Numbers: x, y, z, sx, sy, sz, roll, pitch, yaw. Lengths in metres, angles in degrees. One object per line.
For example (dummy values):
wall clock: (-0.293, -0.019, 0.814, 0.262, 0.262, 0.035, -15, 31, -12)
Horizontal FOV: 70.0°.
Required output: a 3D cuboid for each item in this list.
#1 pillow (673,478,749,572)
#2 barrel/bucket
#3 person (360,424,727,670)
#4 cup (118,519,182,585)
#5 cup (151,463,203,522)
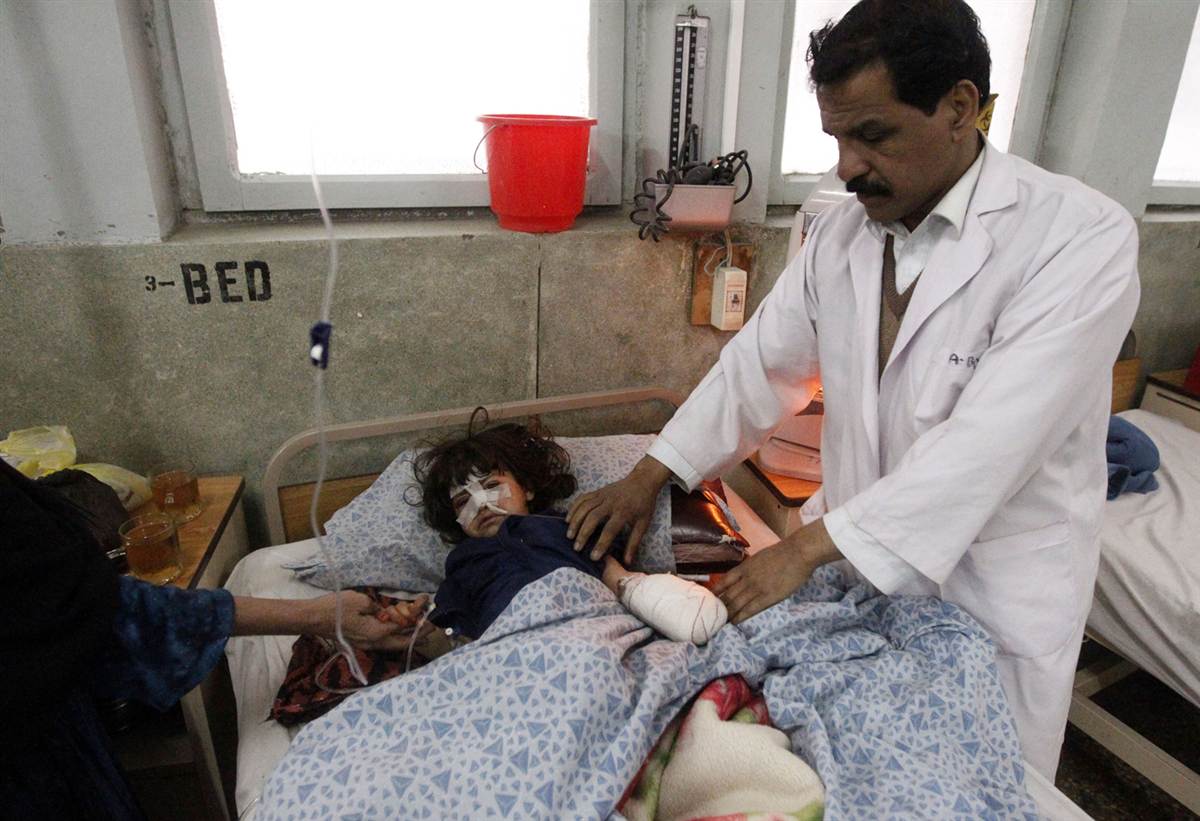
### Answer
pillow: (0.325, 0.311, 2.576, 0.264, 0.079, 0.253, -4, 51, -20)
barrel/bucket: (-0.201, -0.754, 2.721, 0.370, 0.290, 0.370, 0, 23, 0)
person: (-0.237, 0.376, 2.523, 0.822, 0.318, 1.036, -17, 34, -21)
cup: (-1.198, 0.371, 2.363, 0.152, 0.167, 0.147, 2, 20, -1)
cup: (-1.268, 0.237, 2.551, 0.139, 0.156, 0.139, -1, 21, 0)
